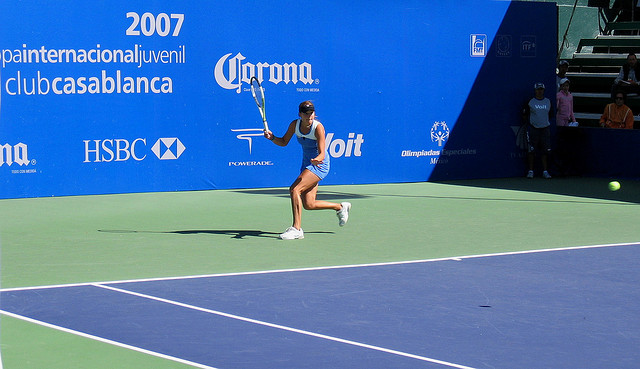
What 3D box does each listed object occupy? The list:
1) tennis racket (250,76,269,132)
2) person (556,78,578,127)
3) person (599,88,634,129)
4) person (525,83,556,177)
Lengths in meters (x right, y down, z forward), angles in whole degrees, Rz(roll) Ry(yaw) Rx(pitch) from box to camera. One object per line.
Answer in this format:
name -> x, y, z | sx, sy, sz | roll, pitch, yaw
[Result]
tennis racket -> -1.558, -2.047, 16.363 | 0.148, 2.274, 0.585 | -35, -48, 23
person -> 7.850, -2.571, 20.329 | 0.537, 1.511, 0.557 | -10, 15, -41
person -> 9.502, -2.434, 20.391 | 0.903, 1.164, 2.444 | 5, 12, 23
person -> 6.907, -1.672, 19.912 | 1.053, 2.861, 0.696 | -9, 14, -39
